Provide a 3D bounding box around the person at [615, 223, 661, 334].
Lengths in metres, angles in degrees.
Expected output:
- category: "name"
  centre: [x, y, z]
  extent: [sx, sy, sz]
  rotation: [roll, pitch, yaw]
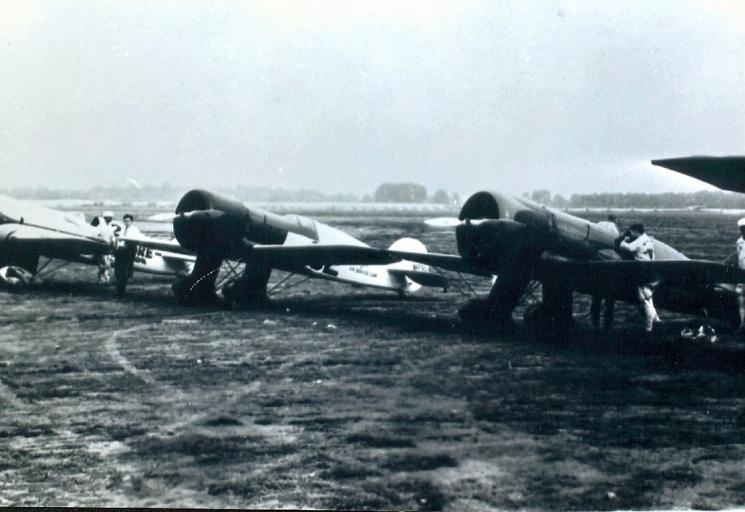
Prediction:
- category: "person"
  centre: [2.577, 0.207, 7.924]
  extent: [0.488, 1.010, 0.255]
  rotation: [8, -5, -26]
